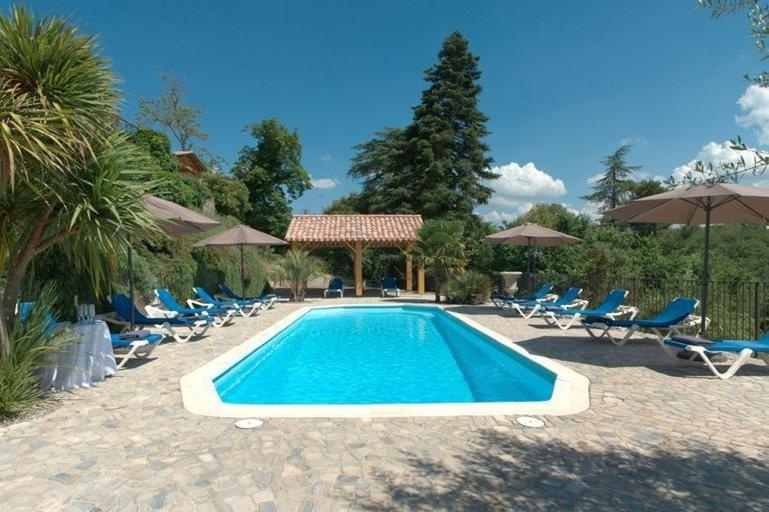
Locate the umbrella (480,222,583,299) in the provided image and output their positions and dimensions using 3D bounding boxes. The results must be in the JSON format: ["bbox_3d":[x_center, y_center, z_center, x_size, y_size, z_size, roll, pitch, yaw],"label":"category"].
[{"bbox_3d":[5.350,-0.015,16.796,3.394,1.941,3.210,-2,2,11],"label":"umbrella"}]

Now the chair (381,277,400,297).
[{"bbox_3d":[0.262,1.583,22.912,0.792,0.663,1.128,-1,-4,0],"label":"chair"}]

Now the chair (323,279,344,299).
[{"bbox_3d":[-2.551,1.515,22.665,0.819,0.666,1.194,-3,-7,6],"label":"chair"}]

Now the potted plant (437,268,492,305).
[{"bbox_3d":[3.502,1.266,19.108,1.690,0.920,1.569,-3,8,27],"label":"potted plant"}]

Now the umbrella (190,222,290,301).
[{"bbox_3d":[-5.503,0.068,17.146,3.560,2.068,3.046,-1,-4,-3],"label":"umbrella"}]
